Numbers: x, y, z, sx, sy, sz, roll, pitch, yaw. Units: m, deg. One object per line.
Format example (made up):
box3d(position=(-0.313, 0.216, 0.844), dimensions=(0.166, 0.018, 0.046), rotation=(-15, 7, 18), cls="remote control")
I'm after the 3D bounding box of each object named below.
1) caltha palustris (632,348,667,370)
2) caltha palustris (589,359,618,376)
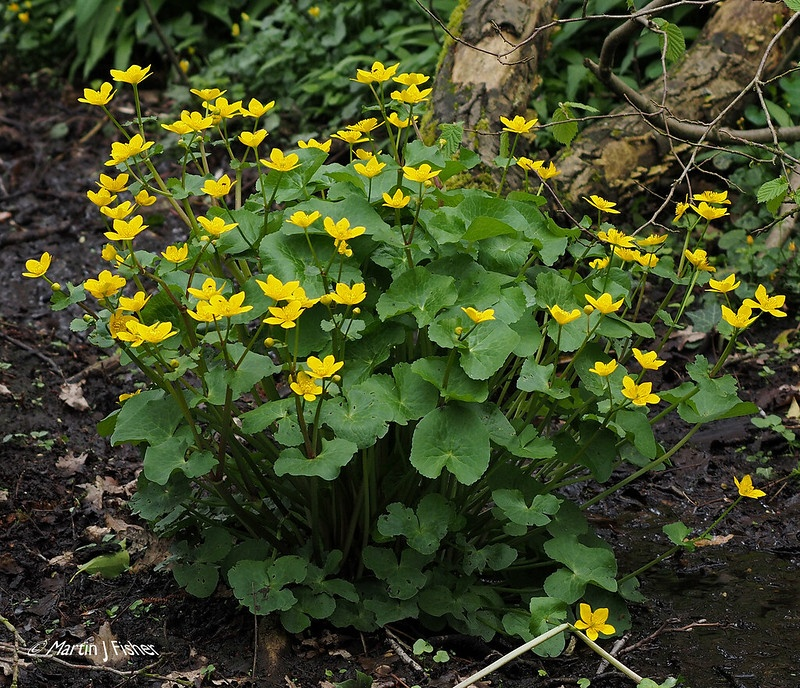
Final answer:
box3d(position=(0.957, 0.056, 3.121), dimensions=(0.140, 0.044, 0.117), rotation=(24, 10, -12), cls="caltha palustris")
box3d(position=(0.605, 0.066, 2.425), dimensions=(0.075, 0.027, 0.068), rotation=(5, 14, 39), cls="caltha palustris")
